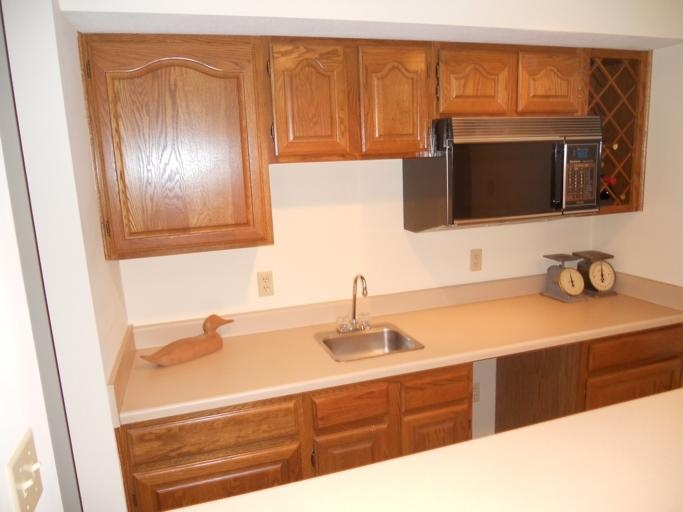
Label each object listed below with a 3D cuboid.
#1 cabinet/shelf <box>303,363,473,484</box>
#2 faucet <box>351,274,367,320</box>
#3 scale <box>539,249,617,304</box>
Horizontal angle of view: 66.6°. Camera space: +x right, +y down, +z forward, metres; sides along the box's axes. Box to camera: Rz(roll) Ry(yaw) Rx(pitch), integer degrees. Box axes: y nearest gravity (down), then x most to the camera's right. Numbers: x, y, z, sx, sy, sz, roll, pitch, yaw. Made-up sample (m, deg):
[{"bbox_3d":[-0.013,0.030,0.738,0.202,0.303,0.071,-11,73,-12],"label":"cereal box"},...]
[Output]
[{"bbox_3d":[0.202,0.797,2.647,0.882,0.584,0.487,-8,17,-14],"label":"cabinet/shelf"},{"bbox_3d":[0.094,0.205,2.823,0.099,0.273,0.304,-4,12,3],"label":"faucet"},{"bbox_3d":[1.467,0.106,3.219,0.438,0.253,0.289,-10,13,-23],"label":"scale"}]
